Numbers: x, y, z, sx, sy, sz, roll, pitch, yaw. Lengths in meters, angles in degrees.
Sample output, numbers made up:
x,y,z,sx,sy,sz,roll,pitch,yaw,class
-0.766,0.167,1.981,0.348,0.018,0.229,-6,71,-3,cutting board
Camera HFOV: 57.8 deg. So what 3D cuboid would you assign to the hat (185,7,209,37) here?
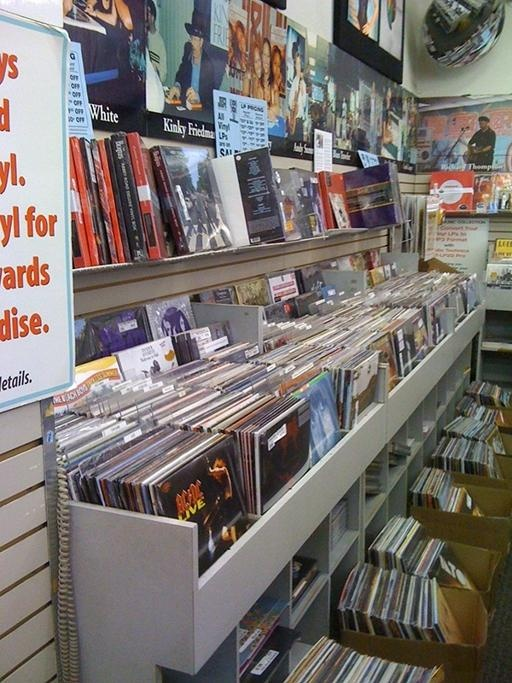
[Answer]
x,y,z,sx,sy,sz,roll,pitch,yaw,class
-0.241,-1.283,1.895,0.081,0.065,0.127,11,27,-9,hat
